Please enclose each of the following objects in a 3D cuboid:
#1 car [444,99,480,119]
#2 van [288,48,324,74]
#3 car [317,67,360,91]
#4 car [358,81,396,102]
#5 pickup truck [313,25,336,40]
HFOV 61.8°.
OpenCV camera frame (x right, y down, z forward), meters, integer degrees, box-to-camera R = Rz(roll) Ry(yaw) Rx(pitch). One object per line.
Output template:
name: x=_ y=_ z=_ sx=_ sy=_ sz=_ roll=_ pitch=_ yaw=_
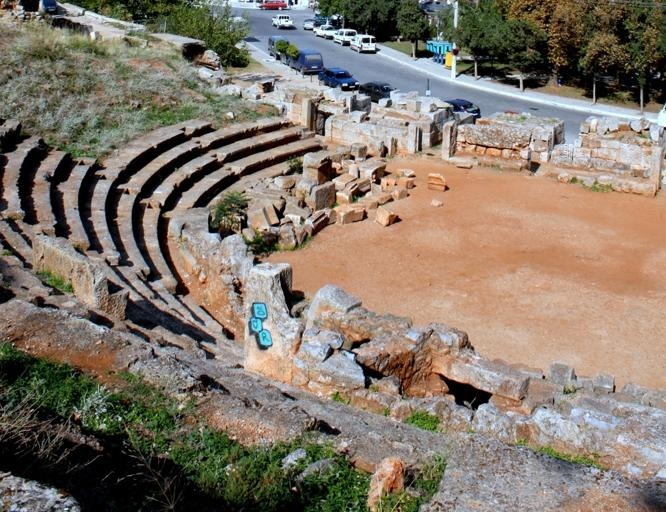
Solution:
car: x=6.851 y=-7.631 z=29.113 sx=1.443 sy=0.698 sz=2.258 roll=19 pitch=31 yaw=30
van: x=-1.818 y=-13.332 z=38.584 sx=1.740 sy=1.283 sz=2.719 roll=-11 pitch=32 yaw=-21
car: x=0.288 y=-10.596 z=33.792 sx=1.391 sy=0.942 sz=2.735 roll=-14 pitch=30 yaw=-23
car: x=2.451 y=-9.513 z=32.518 sx=1.306 sy=0.915 sz=2.821 roll=-25 pitch=36 yaw=-35
pickup truck: x=-0.820 y=-21.164 z=52.666 sx=1.231 sy=0.977 sz=2.251 roll=-17 pitch=31 yaw=-28
